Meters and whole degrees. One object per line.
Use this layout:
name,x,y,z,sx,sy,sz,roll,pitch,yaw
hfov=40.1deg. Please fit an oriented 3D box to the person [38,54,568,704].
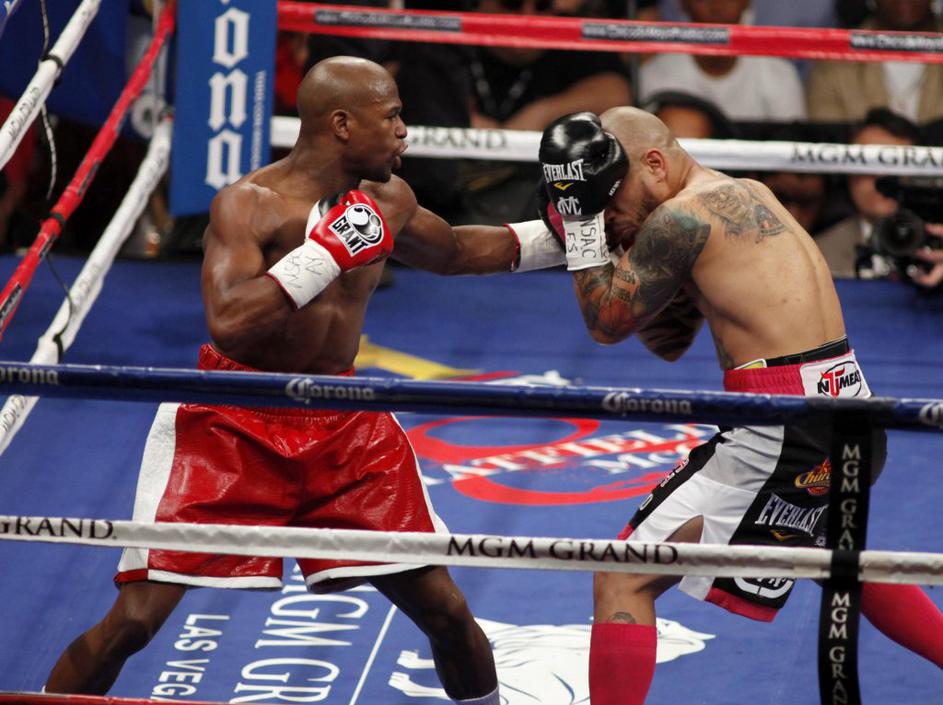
person,-0.442,0.072,3.602,0.991,1.562,1.515,9,30,16

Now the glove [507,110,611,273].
glove,0.298,-0.463,3.749,0.329,0.434,0.214,1,5,37

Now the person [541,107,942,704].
person,0.762,0.108,3.646,1.007,1.345,1.153,-4,29,-6

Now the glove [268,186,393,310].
glove,-0.394,-0.272,3.545,0.349,0.256,0.126,-46,5,-11
